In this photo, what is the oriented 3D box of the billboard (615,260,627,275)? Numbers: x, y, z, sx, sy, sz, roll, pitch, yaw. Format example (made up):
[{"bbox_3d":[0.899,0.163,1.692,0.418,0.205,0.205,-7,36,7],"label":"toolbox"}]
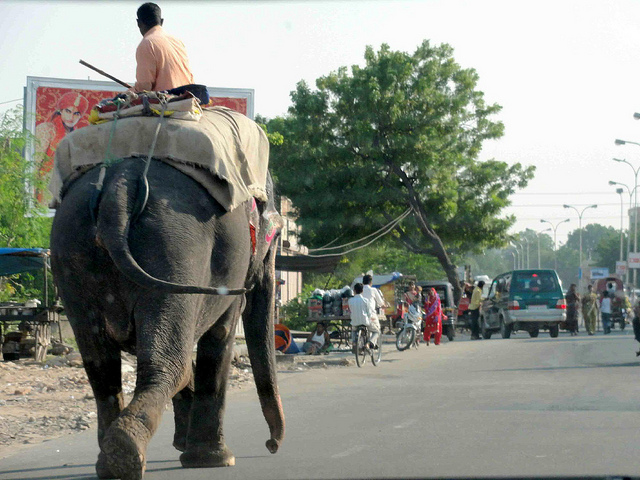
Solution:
[{"bbox_3d":[14.712,1.357,51.598,0.526,0.858,0.970,-3,-2,29],"label":"billboard"}]

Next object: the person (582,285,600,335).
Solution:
[{"bbox_3d":[7.685,1.991,30.142,0.390,1.362,1.377,-1,-1,14],"label":"person"}]

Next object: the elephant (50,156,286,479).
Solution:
[{"bbox_3d":[-1.163,0.662,8.413,1.701,2.050,1.939,-1,-1,-2],"label":"elephant"}]

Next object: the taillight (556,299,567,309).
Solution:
[{"bbox_3d":[6.095,1.619,26.684,0.305,0.230,0.093,0,-1,-36],"label":"taillight"}]

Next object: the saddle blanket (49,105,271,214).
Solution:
[{"bbox_3d":[-1.288,-0.813,9.282,1.647,0.725,2.288,-1,10,6],"label":"saddle blanket"}]
